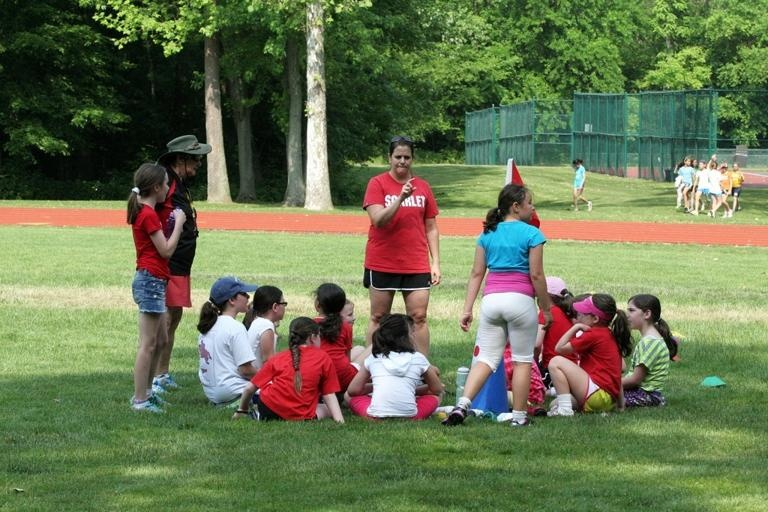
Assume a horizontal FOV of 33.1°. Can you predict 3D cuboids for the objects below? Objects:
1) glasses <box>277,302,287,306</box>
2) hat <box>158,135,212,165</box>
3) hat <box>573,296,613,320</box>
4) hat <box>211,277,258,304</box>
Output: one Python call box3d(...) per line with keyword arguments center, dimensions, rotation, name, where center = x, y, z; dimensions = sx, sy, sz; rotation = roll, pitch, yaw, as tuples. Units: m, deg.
box3d(center=(-2.110, 0.994, 26.880), dimensions=(0.155, 0.050, 0.159), rotation=(0, -1, -1), name="glasses")
box3d(center=(-4.156, -2.247, 27.137), dimensions=(1.089, 0.609, 0.855), rotation=(0, 3, -8), name="hat")
box3d(center=(4.244, 1.014, 26.500), dimensions=(0.644, 0.238, 0.424), rotation=(25, 3, 7), name="hat")
box3d(center=(-3.117, 0.698, 26.631), dimensions=(0.834, 0.419, 0.534), rotation=(-14, 12, -13), name="hat")
